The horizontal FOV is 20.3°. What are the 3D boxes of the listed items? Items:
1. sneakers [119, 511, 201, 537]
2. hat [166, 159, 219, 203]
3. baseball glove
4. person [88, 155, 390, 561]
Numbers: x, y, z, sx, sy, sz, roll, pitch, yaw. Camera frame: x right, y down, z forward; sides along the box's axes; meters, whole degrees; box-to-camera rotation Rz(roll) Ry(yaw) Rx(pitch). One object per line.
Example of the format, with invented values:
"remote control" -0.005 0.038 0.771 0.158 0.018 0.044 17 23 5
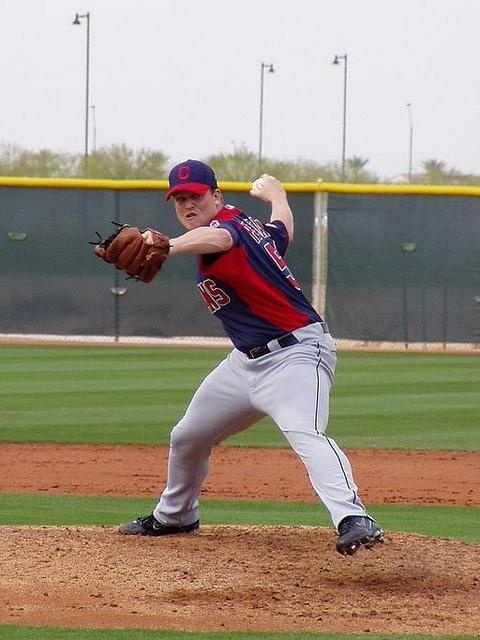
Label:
"sneakers" -0.376 0.969 6.249 0.372 0.138 0.122 3 -2 -7
"hat" -0.202 -0.598 5.692 0.214 0.164 0.181 0 5 -3
"baseball glove" -0.447 -0.256 5.290 0.283 0.204 0.119 25 -33 7
"person" -0.011 0.172 5.831 1.062 1.713 1.418 0 5 -5
